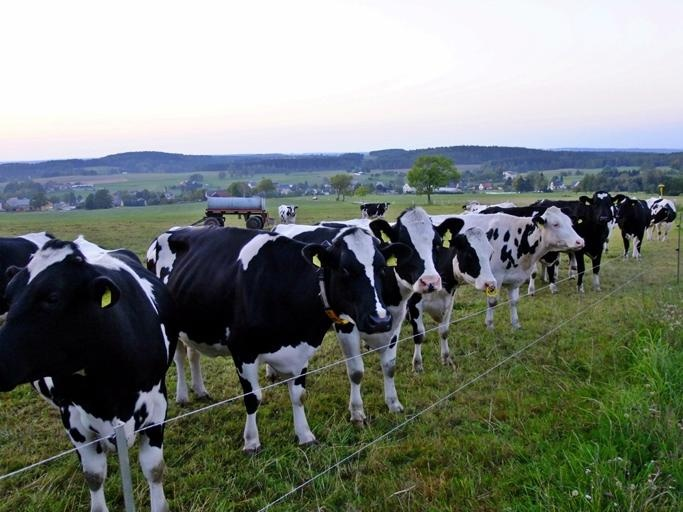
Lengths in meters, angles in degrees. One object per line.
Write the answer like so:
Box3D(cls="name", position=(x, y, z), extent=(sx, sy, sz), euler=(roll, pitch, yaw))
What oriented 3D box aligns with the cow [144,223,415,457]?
Box3D(cls="cow", position=(-0.907, 0.963, 7.152), extent=(3.380, 2.576, 1.320), euler=(2, 13, 34))
